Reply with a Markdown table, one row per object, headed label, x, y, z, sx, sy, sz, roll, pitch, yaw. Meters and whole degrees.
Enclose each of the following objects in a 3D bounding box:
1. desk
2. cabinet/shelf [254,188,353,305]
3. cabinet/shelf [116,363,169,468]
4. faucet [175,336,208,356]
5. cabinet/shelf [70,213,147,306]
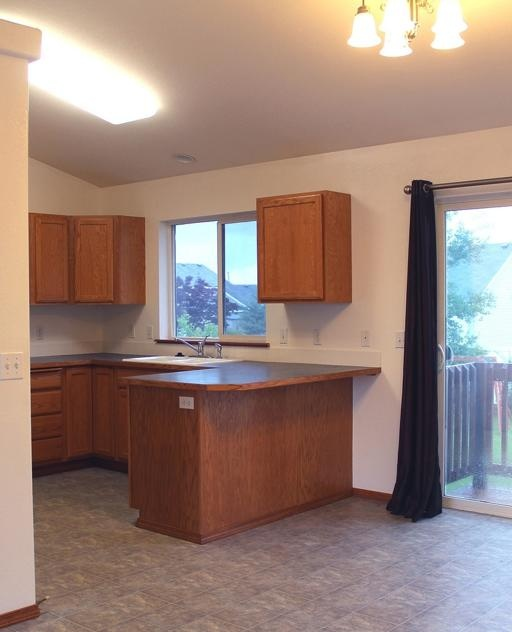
| label | x | y | z | sx | sy | sz | roll | pitch | yaw |
| --- | --- | --- | --- | --- | --- | --- | --- | --- | --- |
| desk | -0.087 | 0.775 | 3.142 | 1.109 | 0.709 | 1.123 | 1 | 1 | 41 |
| cabinet/shelf | 0.355 | -0.475 | 3.685 | 0.776 | 0.978 | 0.492 | 1 | 3 | 34 |
| cabinet/shelf | -0.952 | 0.878 | 4.527 | 0.469 | 0.746 | 0.500 | 3 | 2 | 3 |
| faucet | -0.532 | 0.263 | 4.744 | 0.215 | 0.163 | 0.410 | 0 | 1 | -30 |
| cabinet/shelf | -1.426 | -0.541 | 5.193 | 0.707 | 0.840 | 0.675 | 4 | 6 | 37 |
